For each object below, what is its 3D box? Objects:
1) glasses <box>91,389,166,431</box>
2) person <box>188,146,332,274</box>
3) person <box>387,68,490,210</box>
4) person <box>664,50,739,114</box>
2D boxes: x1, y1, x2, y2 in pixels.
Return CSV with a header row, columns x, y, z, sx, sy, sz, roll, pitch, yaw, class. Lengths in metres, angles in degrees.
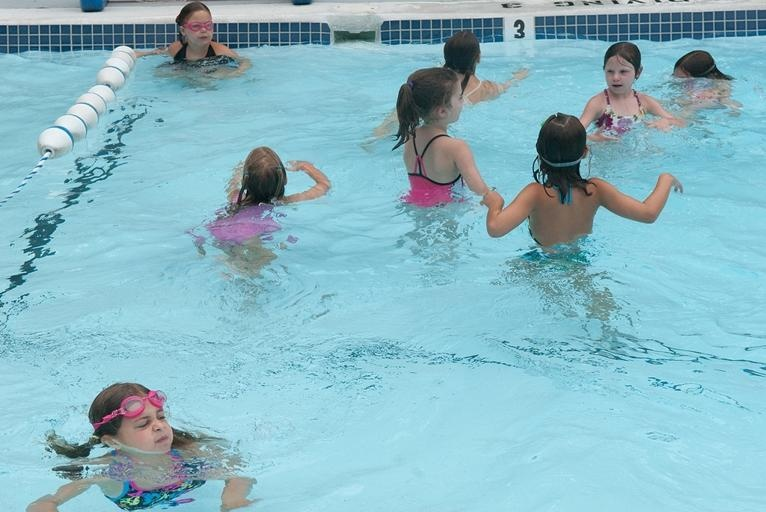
x,y,z,sx,sy,sz,roll,pitch,yaw,class
-1.239,0.711,3.195,0.294,0.067,0.240,-17,-4,30,glasses
-0.919,-0.377,4.685,0.703,0.750,0.995,6,22,14,person
0.464,-0.811,4.717,0.691,0.989,0.324,16,30,32,person
2.987,-1.593,6.262,0.767,0.599,0.441,1,7,9,person
